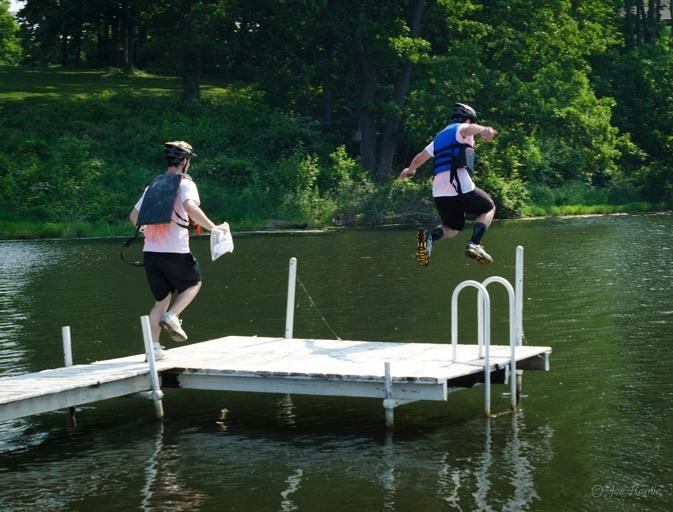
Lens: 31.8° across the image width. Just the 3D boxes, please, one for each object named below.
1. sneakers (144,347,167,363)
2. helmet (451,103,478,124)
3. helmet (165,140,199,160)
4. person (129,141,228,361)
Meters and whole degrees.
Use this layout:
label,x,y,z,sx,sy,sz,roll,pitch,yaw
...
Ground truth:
label,x,y,z,sx,sy,sz,roll,pitch,yaw
sneakers,-2.933,1.598,19.006,0.478,0.248,0.137,-7,32,-19
helmet,2.210,-2.471,20.422,0.518,0.247,0.315,11,-4,-13
helmet,-2.425,-1.706,19.188,0.475,0.197,0.665,8,5,30
person,-2.636,-0.071,18.956,1.194,3.490,1.044,-3,7,-8
